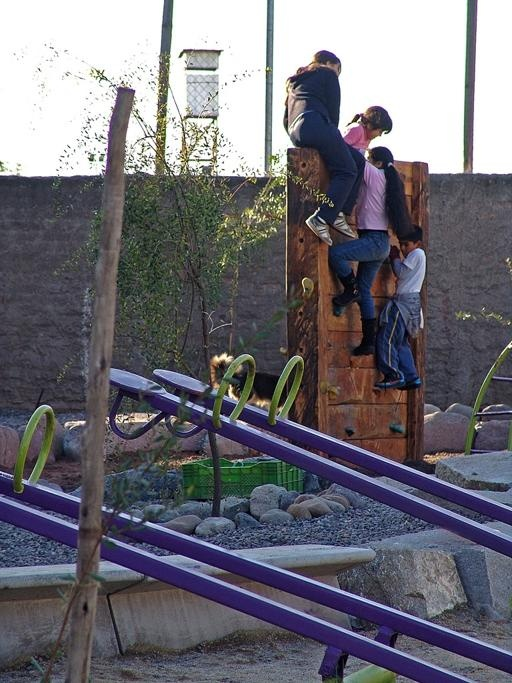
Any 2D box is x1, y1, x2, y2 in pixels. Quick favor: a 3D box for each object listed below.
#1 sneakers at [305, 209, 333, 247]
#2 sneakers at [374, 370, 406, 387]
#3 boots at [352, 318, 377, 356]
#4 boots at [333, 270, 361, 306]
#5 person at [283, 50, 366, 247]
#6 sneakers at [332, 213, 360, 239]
[{"bbox_3d":[0.357,-0.601,6.156,0.179,0.164,0.106,2,0,-33],"label":"sneakers"},{"bbox_3d":[0.793,0.220,6.815,0.200,0.146,0.071,-1,-4,8],"label":"sneakers"},{"bbox_3d":[0.622,-0.019,6.629,0.127,0.210,0.282,2,0,7],"label":"boots"},{"bbox_3d":[0.507,-0.270,6.354,0.208,0.195,0.105,-5,7,-5],"label":"boots"},{"bbox_3d":[0.385,-1.074,6.326,0.423,1.020,0.473,2,0,-5],"label":"person"},{"bbox_3d":[0.491,-0.624,6.358,0.086,0.068,0.212,0,-22,30],"label":"sneakers"}]
